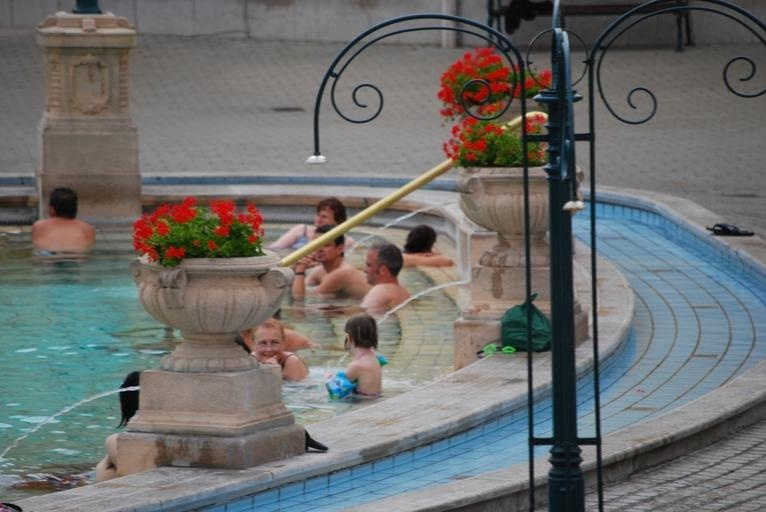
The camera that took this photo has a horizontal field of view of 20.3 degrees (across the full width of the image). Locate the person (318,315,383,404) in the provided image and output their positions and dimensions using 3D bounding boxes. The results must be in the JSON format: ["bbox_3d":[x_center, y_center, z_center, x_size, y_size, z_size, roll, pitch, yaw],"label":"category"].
[{"bbox_3d":[-0.347,1.326,27.995,0.688,1.095,0.318,-2,3,-2],"label":"person"}]

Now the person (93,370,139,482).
[{"bbox_3d":[-3.272,2.052,26.601,0.595,1.307,1.390,-3,3,-8],"label":"person"}]

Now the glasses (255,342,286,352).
[{"bbox_3d":[-1.478,1.193,28.254,0.382,0.154,0.168,-2,2,-10],"label":"glasses"}]

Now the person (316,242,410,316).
[{"bbox_3d":[-0.179,0.318,31.404,1.264,0.927,1.290,3,14,17],"label":"person"}]

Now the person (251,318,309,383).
[{"bbox_3d":[-1.391,1.251,28.350,0.616,0.866,1.065,-1,3,15],"label":"person"}]

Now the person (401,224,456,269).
[{"bbox_3d":[0.718,-0.139,33.086,0.747,0.666,0.406,-2,3,1],"label":"person"}]

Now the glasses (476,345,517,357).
[{"bbox_3d":[1.523,1.243,28.023,0.381,0.117,0.204,-1,-7,-1],"label":"glasses"}]

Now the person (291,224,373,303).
[{"bbox_3d":[-0.690,0.089,31.967,1.687,0.905,0.897,1,10,-39],"label":"person"}]

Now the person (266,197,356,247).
[{"bbox_3d":[-1.196,-0.453,32.846,0.822,0.535,1.139,5,9,36],"label":"person"}]

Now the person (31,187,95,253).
[{"bbox_3d":[-5.146,-0.590,34.639,1.085,0.927,0.788,4,13,-23],"label":"person"}]
